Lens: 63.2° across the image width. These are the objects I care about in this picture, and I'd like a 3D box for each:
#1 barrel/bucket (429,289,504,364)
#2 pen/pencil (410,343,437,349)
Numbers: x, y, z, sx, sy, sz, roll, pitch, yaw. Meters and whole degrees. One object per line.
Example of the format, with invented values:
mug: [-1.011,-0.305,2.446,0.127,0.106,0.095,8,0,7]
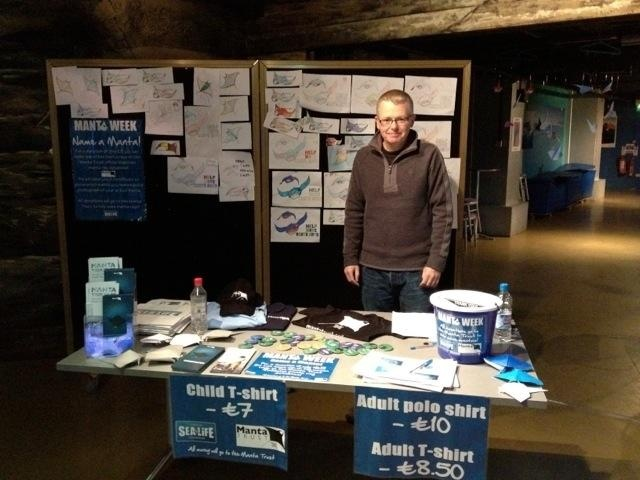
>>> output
barrel/bucket: [0.670,0.402,2.515,0.368,0.247,0.350,0,8,0]
pen/pencil: [0.533,0.547,2.660,0.077,0.022,0.016,-7,-4,6]
